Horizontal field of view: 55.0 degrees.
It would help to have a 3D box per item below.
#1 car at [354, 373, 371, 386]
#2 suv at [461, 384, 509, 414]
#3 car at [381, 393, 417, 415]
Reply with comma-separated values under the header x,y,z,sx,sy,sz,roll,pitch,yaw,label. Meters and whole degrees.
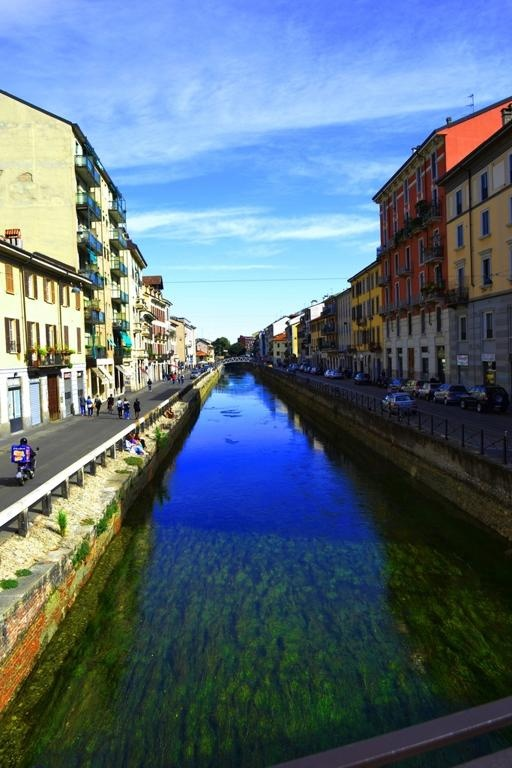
x,y,z,sx,sy,sz,roll,pitch,yaw,label
11.158,-0.485,52.220,1.733,1.244,1.624,0,2,33,car
12.260,0.761,26.291,0.997,1.164,2.287,0,5,-5,suv
7.598,1.080,26.102,0.939,0.876,2.346,-1,10,0,car
